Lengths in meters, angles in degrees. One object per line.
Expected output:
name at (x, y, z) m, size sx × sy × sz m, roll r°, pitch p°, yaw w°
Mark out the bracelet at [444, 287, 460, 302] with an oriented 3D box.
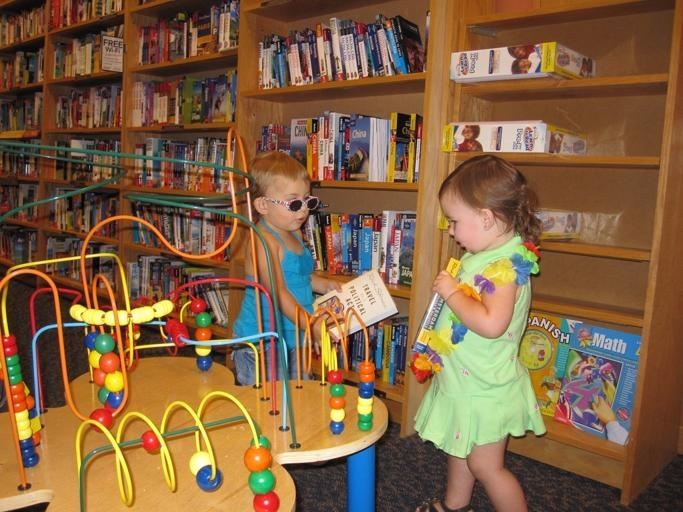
bracelet at (0.368, 0.125, 1.755) m, size 0.040 × 0.031 × 0.040 m, roll 39°, pitch 2°, yaw -12°
